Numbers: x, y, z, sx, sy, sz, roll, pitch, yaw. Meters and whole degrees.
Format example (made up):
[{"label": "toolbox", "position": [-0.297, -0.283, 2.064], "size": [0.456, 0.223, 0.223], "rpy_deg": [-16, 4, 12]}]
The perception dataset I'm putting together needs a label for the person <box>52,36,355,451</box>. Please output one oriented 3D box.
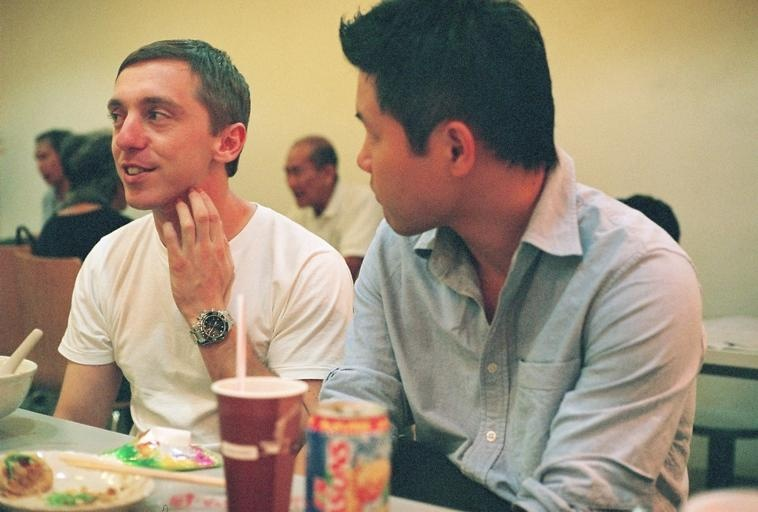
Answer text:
[{"label": "person", "position": [-0.571, 0.089, 2.386], "size": [1.042, 1.431, 0.735], "rpy_deg": [-3, -7, 20]}]
